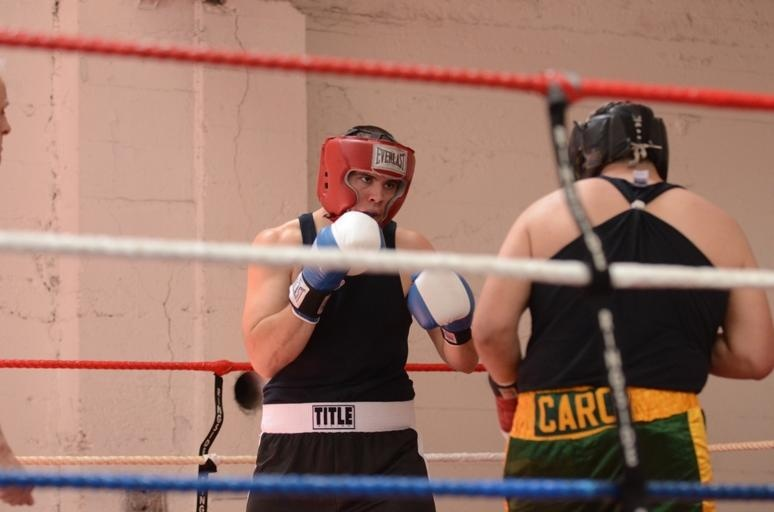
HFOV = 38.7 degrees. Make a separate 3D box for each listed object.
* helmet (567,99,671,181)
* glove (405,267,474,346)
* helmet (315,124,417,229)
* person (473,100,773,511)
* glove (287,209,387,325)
[{"bbox_3d":[0.928,-0.398,4.314,0.336,0.315,0.375,1,-4,-3],"label":"helmet"},{"bbox_3d":[0.226,0.215,4.386,0.229,0.284,0.147,-11,-10,-8],"label":"glove"},{"bbox_3d":[-0.091,-0.331,4.607,0.396,0.403,0.429,7,-1,-11],"label":"helmet"},{"bbox_3d":[0.886,0.180,4.096,1.115,1.532,0.268,2,-5,3],"label":"person"},{"bbox_3d":[-0.221,0.026,4.352,0.336,0.443,0.181,38,14,-19],"label":"glove"}]
